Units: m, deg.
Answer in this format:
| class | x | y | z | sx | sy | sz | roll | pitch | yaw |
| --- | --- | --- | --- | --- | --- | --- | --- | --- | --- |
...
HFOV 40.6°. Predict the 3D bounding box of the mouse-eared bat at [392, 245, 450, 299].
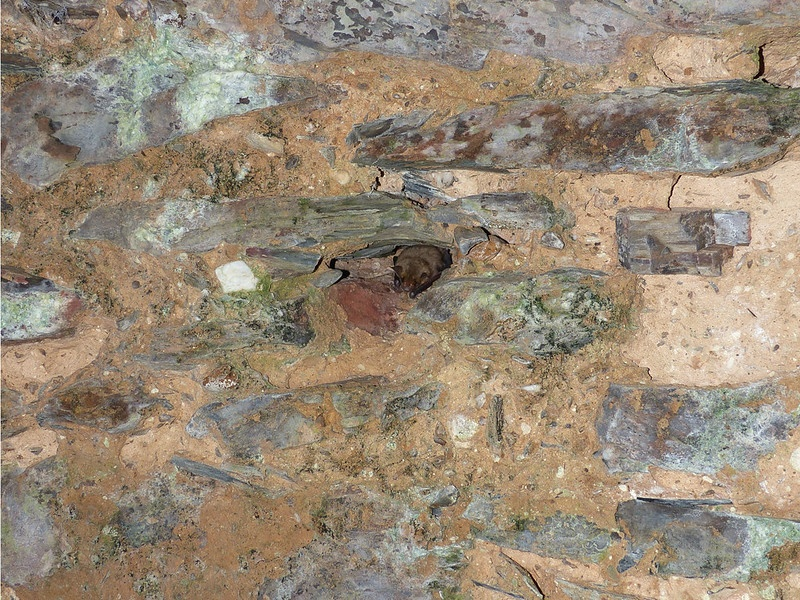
| class | x | y | z | sx | sy | sz | roll | pitch | yaw |
| --- | --- | --- | --- | --- | --- | --- | --- | --- | --- |
| mouse-eared bat | 0.151 | -0.176 | 7.197 | 0.349 | 0.105 | 0.346 | 21 | 93 | 36 |
